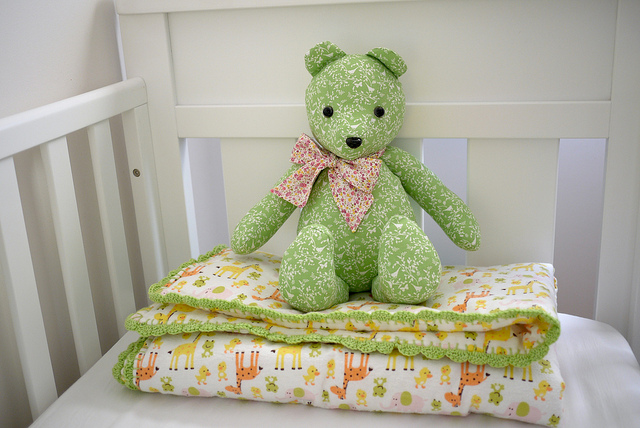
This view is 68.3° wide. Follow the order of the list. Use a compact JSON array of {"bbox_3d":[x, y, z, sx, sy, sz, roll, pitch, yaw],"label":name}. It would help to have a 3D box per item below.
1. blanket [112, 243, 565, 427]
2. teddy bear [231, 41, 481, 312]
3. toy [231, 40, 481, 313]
[{"bbox_3d":[0.073,0.279,1.124,0.724,0.480,0.187,1,-76,7],"label":"blanket"},{"bbox_3d":[0.093,-0.113,1.226,0.605,0.372,0.649,-2,-76,4],"label":"teddy bear"},{"bbox_3d":[0.093,-0.113,1.226,0.611,0.361,0.644,-2,-77,5],"label":"toy"}]
